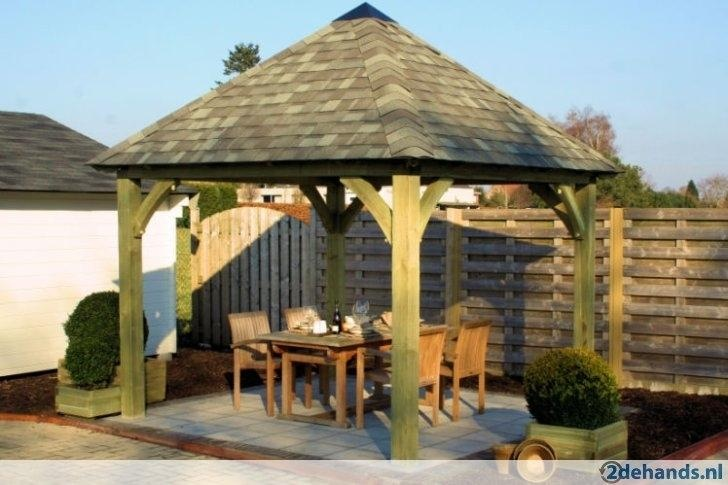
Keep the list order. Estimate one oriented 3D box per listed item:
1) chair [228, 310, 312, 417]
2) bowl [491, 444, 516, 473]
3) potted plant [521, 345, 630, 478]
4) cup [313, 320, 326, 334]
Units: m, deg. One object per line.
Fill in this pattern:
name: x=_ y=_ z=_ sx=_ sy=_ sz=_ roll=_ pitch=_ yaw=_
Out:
chair: x=-1.754 y=1.953 z=11.943 sx=1.353 sy=1.921 sz=1.425 roll=-1 pitch=0 yaw=32
bowl: x=1.781 y=2.646 z=8.845 sx=0.313 sy=0.354 sz=0.353 roll=-2 pitch=-1 yaw=18
potted plant: x=2.594 y=2.159 z=9.228 sx=1.411 sy=1.647 sz=1.495 roll=-3 pitch=-3 yaw=28
cup: x=-0.691 y=1.356 z=11.254 sx=0.197 sy=0.210 sz=0.193 roll=0 pitch=-4 yaw=0
